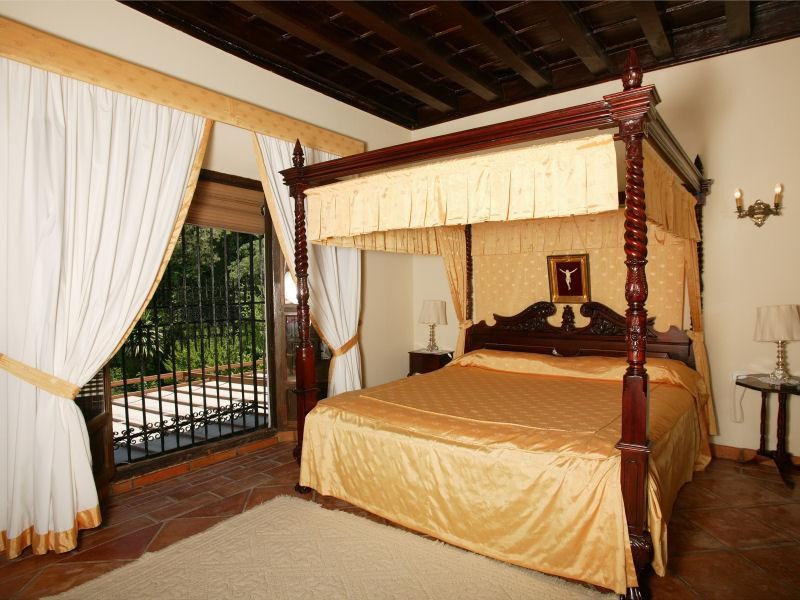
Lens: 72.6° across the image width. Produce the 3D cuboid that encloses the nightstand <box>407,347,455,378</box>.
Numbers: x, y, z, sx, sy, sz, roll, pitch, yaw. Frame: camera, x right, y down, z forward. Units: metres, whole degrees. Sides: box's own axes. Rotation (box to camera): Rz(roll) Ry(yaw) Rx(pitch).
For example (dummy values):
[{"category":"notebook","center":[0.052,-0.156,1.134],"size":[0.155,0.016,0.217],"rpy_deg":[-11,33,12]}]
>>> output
[{"category":"nightstand","center":[0.401,0.764,7.006],"size":[0.458,0.435,0.345],"rpy_deg":[2,4,40]}]

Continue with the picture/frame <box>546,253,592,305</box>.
[{"category":"picture/frame","center":[1.910,-0.247,6.076],"size":[0.549,0.658,0.051],"rpy_deg":[3,6,40]}]

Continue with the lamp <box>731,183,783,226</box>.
[{"category":"lamp","center":[3.466,-0.921,5.249],"size":[0.443,0.440,0.099],"rpy_deg":[0,4,36]}]

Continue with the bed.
[{"category":"bed","center":[1.280,1.136,4.608],"size":[2.424,1.340,2.425],"rpy_deg":[0,0,41]}]
